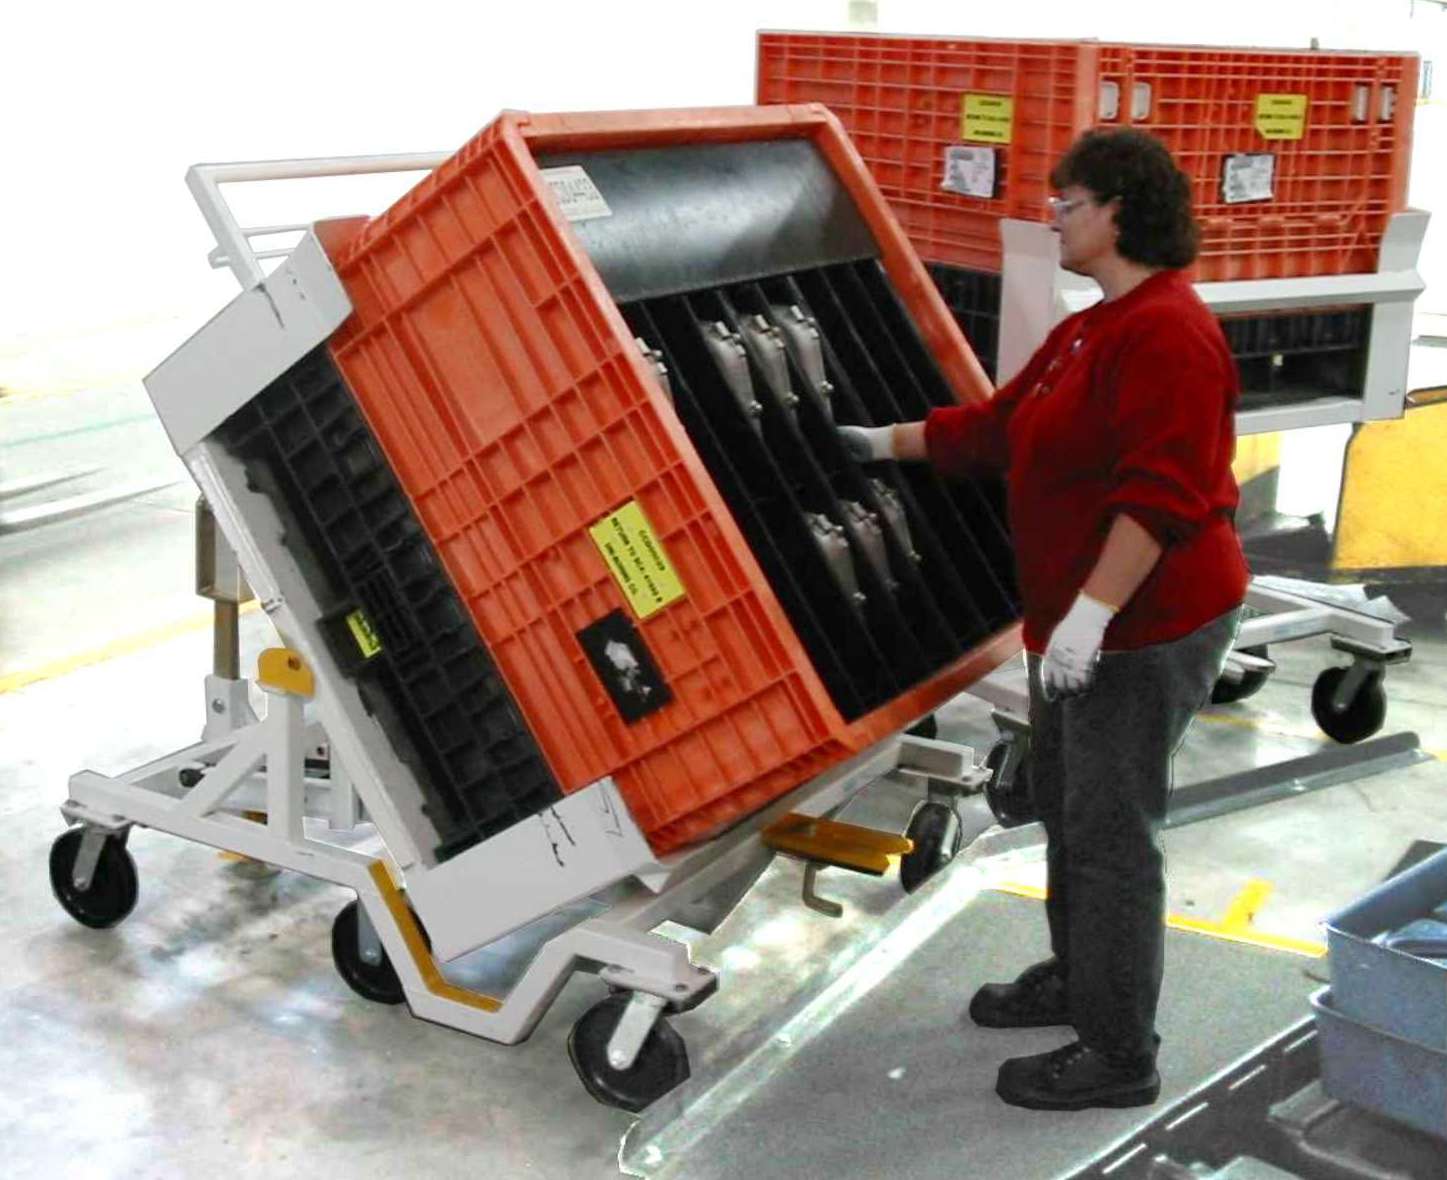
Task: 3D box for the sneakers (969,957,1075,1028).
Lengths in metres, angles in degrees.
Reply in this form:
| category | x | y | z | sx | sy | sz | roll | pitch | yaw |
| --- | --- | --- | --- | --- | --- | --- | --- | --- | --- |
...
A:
| category | x | y | z | sx | sy | sz | roll | pitch | yaw |
| --- | --- | --- | --- | --- | --- | --- | --- | --- | --- |
| sneakers | 0.674 | 0.933 | 2.630 | 0.296 | 0.133 | 0.106 | 2 | -1 | 7 |

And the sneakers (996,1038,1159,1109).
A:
| category | x | y | z | sx | sy | sz | roll | pitch | yaw |
| --- | --- | --- | --- | --- | --- | --- | --- | --- | --- |
| sneakers | 0.717 | 0.999 | 2.369 | 0.341 | 0.105 | 0.131 | 2 | 5 | 4 |

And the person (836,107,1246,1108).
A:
| category | x | y | z | sx | sy | sz | roll | pitch | yaw |
| --- | --- | --- | --- | --- | --- | --- | --- | --- | --- |
| person | 0.710 | 0.118 | 2.212 | 0.706 | 1.924 | 0.717 | -11 | 21 | 26 |

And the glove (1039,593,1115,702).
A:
| category | x | y | z | sx | sy | sz | roll | pitch | yaw |
| --- | --- | --- | --- | --- | --- | --- | --- | --- | --- |
| glove | 0.629 | 0.104 | 2.031 | 0.057 | 0.189 | 0.114 | 23 | 13 | -43 |
